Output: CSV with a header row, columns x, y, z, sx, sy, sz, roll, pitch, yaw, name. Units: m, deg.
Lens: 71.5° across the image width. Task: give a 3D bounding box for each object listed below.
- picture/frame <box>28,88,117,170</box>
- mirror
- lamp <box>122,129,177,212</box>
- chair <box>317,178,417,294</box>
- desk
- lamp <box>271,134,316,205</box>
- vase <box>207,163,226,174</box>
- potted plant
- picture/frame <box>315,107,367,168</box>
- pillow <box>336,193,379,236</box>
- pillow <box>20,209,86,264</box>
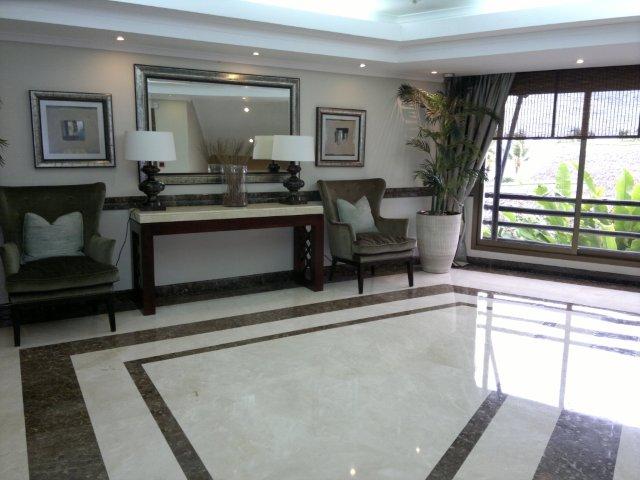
x,y,z,sx,sy,sz,roll,pitch,yaw,name
-2.622,-1.166,4.640,0.903,0.893,0.075,-2,4,-29,picture/frame
-1.145,-1.329,5.387,2.010,1.353,0.077,-7,20,-29,mirror
-1.817,-0.744,4.784,0.536,0.818,0.535,-1,5,4,lamp
0.487,-0.132,6.059,1.423,1.623,1.455,-4,7,-34,chair
-1.107,0.144,5.493,2.343,1.241,0.783,-4,19,-38,desk
-0.325,-0.859,5.484,0.540,0.786,0.505,-1,3,-31,lamp
-1.233,-0.822,5.203,0.175,0.105,0.164,3,36,-4,vase
1.840,-0.904,6.551,1.175,2.648,0.931,-8,15,-31,potted plant
0.253,-1.418,6.059,0.870,0.855,0.072,-3,10,-30,picture/frame
0.499,-0.307,5.890,0.470,0.476,0.146,-5,-16,-37,pillow
-2.680,-0.027,4.411,0.551,0.466,0.205,-1,0,-37,pillow
